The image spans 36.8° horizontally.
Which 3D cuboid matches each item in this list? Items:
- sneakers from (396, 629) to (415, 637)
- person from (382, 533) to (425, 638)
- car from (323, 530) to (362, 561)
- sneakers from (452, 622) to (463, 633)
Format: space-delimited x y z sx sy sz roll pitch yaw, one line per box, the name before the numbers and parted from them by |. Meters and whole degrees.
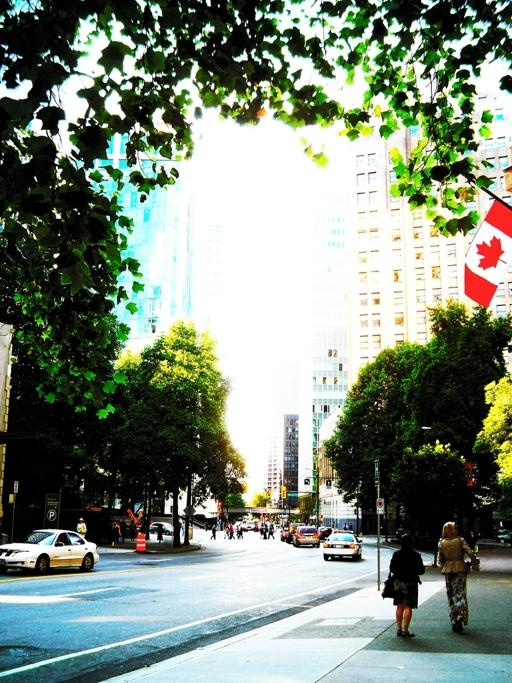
sneakers | 1.944 3.809 9.974 0.223 0.083 0.246 -2 -11 9
person | 2.023 3.341 10.520 0.557 1.288 1.049 -2 -12 9
car | 4.052 9.743 36.261 1.725 1.250 1.654 -1 -12 4
sneakers | 2.786 3.950 10.584 0.176 0.203 0.096 2 -15 12
